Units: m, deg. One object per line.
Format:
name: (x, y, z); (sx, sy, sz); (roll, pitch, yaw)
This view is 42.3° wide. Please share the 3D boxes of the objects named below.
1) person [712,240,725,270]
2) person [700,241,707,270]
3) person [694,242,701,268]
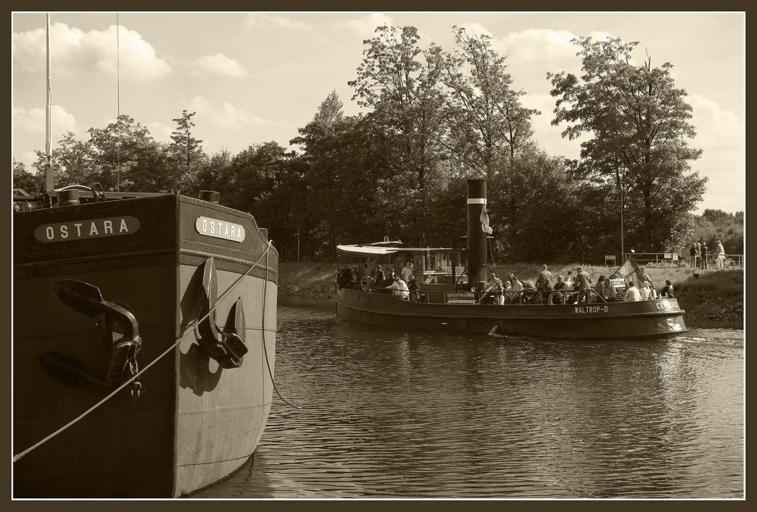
person: (15.743, 0.020, 45.105); (0.522, 1.048, 1.928); (3, 6, 19)
person: (15.222, 0.028, 45.690); (0.279, 1.041, 1.393); (2, 6, 17)
person: (15.001, 0.019, 45.903); (0.244, 1.023, 1.172); (2, 6, 17)
